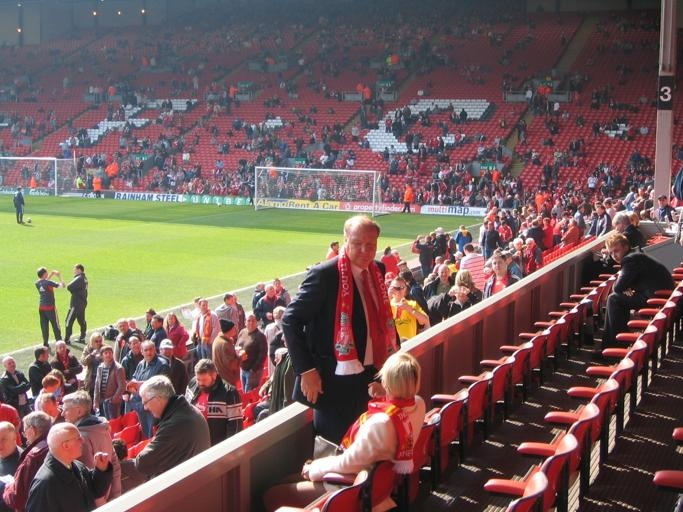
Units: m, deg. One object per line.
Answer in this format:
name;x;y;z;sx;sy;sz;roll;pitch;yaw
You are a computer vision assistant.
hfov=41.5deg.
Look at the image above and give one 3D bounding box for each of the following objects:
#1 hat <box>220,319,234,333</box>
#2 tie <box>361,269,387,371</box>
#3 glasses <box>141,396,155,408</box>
hat;-1.689;1.027;13.347;0.180;0.197;0.344;-1;5;-19
tie;0.325;0.566;8.688;0.247;0.976;0.133;1;4;1
glasses;-2.097;1.593;9.777;0.130;0.047;0.136;5;1;-34
